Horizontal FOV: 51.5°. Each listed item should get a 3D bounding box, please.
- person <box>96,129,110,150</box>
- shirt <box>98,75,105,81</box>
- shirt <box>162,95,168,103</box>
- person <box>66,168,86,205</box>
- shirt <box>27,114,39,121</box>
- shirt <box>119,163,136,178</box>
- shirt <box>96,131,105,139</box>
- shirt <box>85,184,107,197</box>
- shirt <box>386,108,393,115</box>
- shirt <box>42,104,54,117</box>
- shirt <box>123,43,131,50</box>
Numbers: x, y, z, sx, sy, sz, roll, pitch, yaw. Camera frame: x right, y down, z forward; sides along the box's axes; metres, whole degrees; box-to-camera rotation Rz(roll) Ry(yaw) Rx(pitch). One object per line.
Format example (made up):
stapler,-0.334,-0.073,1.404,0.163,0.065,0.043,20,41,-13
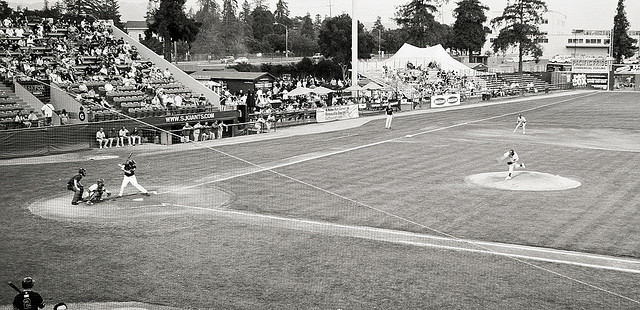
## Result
person,-16.869,-1.218,52.053,0.668,1.373,0.714,3,13,35
shirt,-22.824,-8.117,70.078,0.416,0.472,0.557,-1,10,14
shirt,-16.298,-6.054,71.110,0.514,0.779,0.970,-6,10,-10
person,-17.606,2.312,48.759,1.300,2.571,0.549,-8,11,-23
shirt,-25.107,-3.336,58.629,1.048,0.689,0.541,-3,-4,-40
shirt,-14.282,1.150,50.048,0.896,0.819,0.876,1,5,-1
shirt,-17.050,-1.567,52.240,1.012,0.645,0.508,-1,-3,-40
shirt,-16.674,2.568,49.261,0.982,1.026,0.394,20,-22,6
shirt,7.902,-4.977,74.884,0.459,0.803,1.367,-1,9,13
shirt,-24.656,-4.115,61.017,0.816,1.072,1.808,-8,10,-22
shirt,-21.539,-12.401,75.678,0.644,0.661,1.469,-2,9,5
